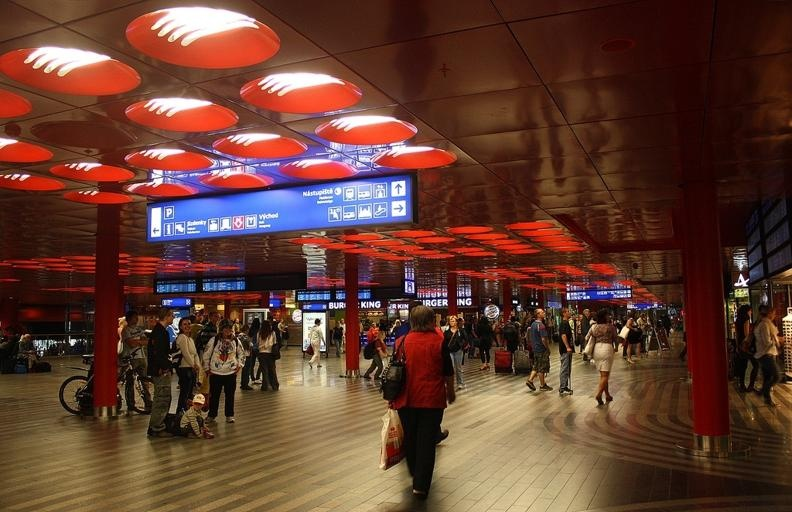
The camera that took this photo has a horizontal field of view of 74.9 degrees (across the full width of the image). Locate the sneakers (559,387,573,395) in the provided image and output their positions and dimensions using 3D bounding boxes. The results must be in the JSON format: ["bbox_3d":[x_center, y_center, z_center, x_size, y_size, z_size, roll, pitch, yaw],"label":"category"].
[{"bbox_3d":[4.723,3.800,14.525,0.400,0.145,0.147,0,-6,5],"label":"sneakers"}]

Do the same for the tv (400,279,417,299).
[{"bbox_3d":[0.732,2.009,31.320,0.188,1.260,1.619,0,-4,28],"label":"tv"}]

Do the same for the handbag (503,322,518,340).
[{"bbox_3d":[4.695,3.190,22.128,0.666,0.829,0.904,-9,-16,43],"label":"handbag"}]
